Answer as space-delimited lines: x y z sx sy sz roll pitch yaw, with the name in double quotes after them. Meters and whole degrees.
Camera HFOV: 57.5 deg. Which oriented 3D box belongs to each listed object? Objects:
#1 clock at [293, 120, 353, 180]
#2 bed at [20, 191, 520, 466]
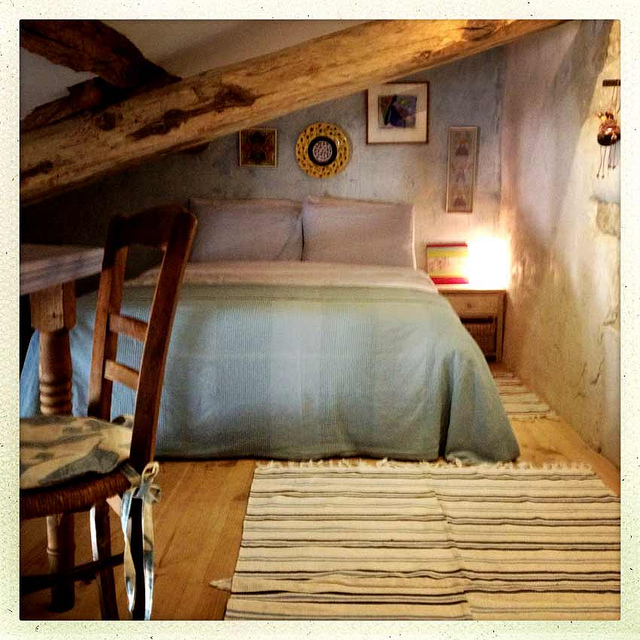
0.009 -1.162 3.947 0.331 0.079 0.357 -25 -16 22 "clock"
-0.064 -0.094 3.036 1.688 0.944 1.940 3 14 2 "bed"
